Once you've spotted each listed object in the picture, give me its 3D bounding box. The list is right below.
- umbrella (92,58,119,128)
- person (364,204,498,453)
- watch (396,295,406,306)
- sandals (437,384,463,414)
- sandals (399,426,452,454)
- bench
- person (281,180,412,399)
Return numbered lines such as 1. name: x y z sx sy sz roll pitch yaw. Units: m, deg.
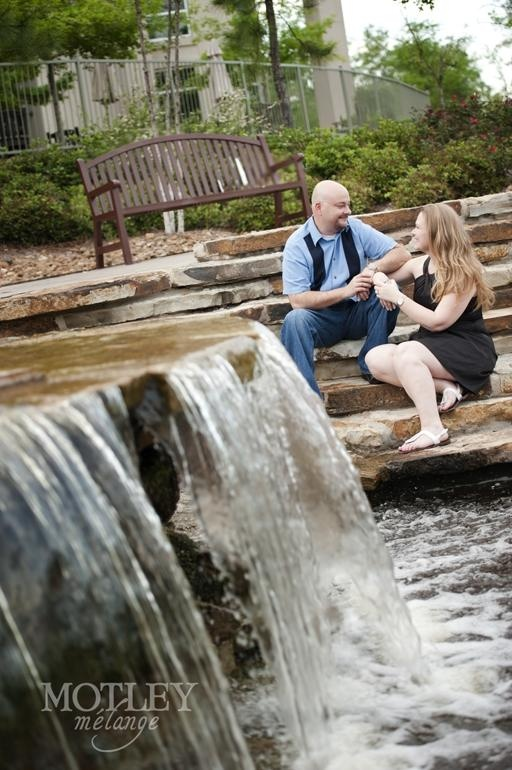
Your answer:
1. umbrella: -2.703 -5.331 14.755 0.450 0.754 0.883 -7 11 -6
2. person: 0.870 -0.311 4.032 0.638 1.117 0.654 -8 11 -10
3. watch: 0.705 -0.409 4.025 0.032 0.050 0.052 23 -8 17
4. sandals: 0.939 0.069 4.024 0.071 0.069 0.199 -3 18 31
5. sandals: 0.777 0.254 3.843 0.230 0.076 0.100 -10 2 -8
6. bench: -0.434 -1.499 6.488 1.759 0.855 0.597 -19 25 -33
7. person: 0.405 -0.516 4.387 0.669 1.077 0.886 12 29 40
